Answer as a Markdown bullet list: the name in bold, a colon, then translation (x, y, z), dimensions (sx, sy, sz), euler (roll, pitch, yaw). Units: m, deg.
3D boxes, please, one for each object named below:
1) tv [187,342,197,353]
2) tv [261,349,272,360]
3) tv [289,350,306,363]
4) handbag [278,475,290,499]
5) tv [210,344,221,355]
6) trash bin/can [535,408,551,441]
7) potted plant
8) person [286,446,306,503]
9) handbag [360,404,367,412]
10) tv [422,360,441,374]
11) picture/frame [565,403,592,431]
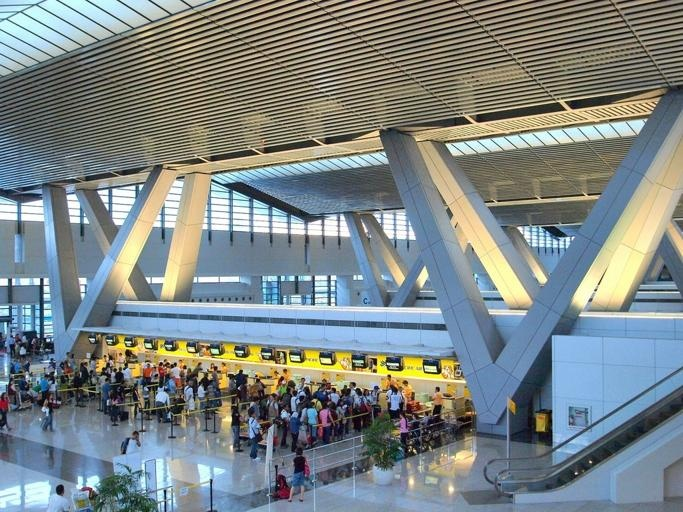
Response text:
- **tv**: translation (-6.397, 3.857, 22.986), dimensions (0.544, 0.419, 0.370), euler (1, -7, 24)
- **tv**: translation (-2.919, 3.790, 20.928), dimensions (0.477, 0.356, 0.264), euler (-3, -7, 37)
- **tv**: translation (-1.721, 3.730, 20.099), dimensions (0.620, 0.476, 0.494), euler (-2, -3, 27)
- **handbag**: translation (-1.255, 4.939, 11.577), dimensions (0.355, 0.475, 0.192), euler (10, -23, -29)
- **tv**: translation (-5.206, 3.817, 22.233), dimensions (0.557, 0.425, 0.316), euler (-2, -5, 34)
- **trash bin/can**: translation (5.824, 4.842, 15.630), dimensions (0.494, 0.808, 0.375), euler (-18, -26, 39)
- **potted plant**: translation (0.787, 4.485, 13.069), dimensions (1.513, 1.958, 1.393), euler (0, -1, 9)
- **person**: translation (-0.962, 4.736, 11.764), dimensions (0.396, 1.070, 0.797), euler (0, -19, -4)
- **handbag**: translation (0.717, 4.807, 17.072), dimensions (0.257, 0.235, 0.238), euler (-2, 1, 20)
- **tv**: translation (3.006, 3.649, 17.814), dimensions (0.582, 0.442, 0.307), euler (-3, -3, 34)
- **picture/frame**: translation (6.113, 4.156, 13.850), dimensions (0.587, 0.595, 0.261), euler (-7, -21, 18)
